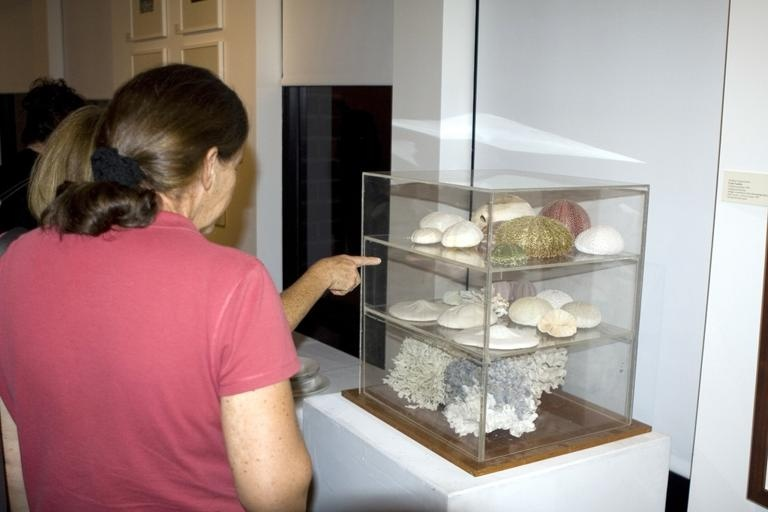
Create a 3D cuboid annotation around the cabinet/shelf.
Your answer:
[{"bbox_3d":[0.310,0.154,1.749,0.586,0.667,0.683,-2,6,-28],"label":"cabinet/shelf"}]
